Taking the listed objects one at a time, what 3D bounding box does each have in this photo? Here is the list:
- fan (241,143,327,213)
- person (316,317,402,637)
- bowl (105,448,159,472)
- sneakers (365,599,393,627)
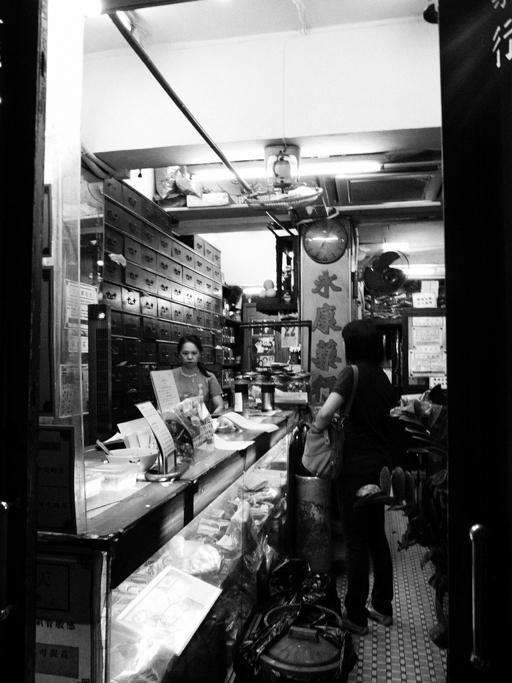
[{"bbox_3d":[0.206,-1.238,3.966,0.460,0.523,1.095,-2,0,6],"label":"fan"},{"bbox_3d":[0.485,0.607,2.627,0.370,1.346,0.533,-1,0,36],"label":"person"},{"bbox_3d":[-0.332,0.321,1.515,0.128,0.062,0.090,-3,0,28],"label":"bowl"},{"bbox_3d":[0.582,1.275,2.692,0.056,0.095,0.191,2,2,-18],"label":"sneakers"}]
